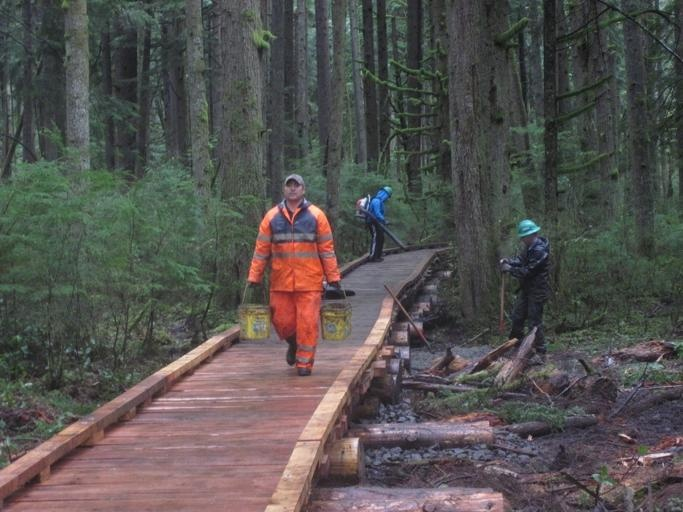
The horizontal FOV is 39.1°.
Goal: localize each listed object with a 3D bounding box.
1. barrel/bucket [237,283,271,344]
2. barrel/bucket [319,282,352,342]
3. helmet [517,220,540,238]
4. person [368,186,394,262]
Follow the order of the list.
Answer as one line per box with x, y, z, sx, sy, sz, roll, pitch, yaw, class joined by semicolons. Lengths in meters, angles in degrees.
-1.585;1.087;17.970;0.585;1.132;0.579;-2;-17;-1;barrel/bucket
-0.144;1.115;17.821;0.817;0.950;0.848;1;-11;0;barrel/bucket
3.976;-0.594;20.428;0.396;0.232;0.375;-29;9;-24;helmet
1.150;-0.991;28.849;0.698;1.052;2.209;-5;-29;-1;person
